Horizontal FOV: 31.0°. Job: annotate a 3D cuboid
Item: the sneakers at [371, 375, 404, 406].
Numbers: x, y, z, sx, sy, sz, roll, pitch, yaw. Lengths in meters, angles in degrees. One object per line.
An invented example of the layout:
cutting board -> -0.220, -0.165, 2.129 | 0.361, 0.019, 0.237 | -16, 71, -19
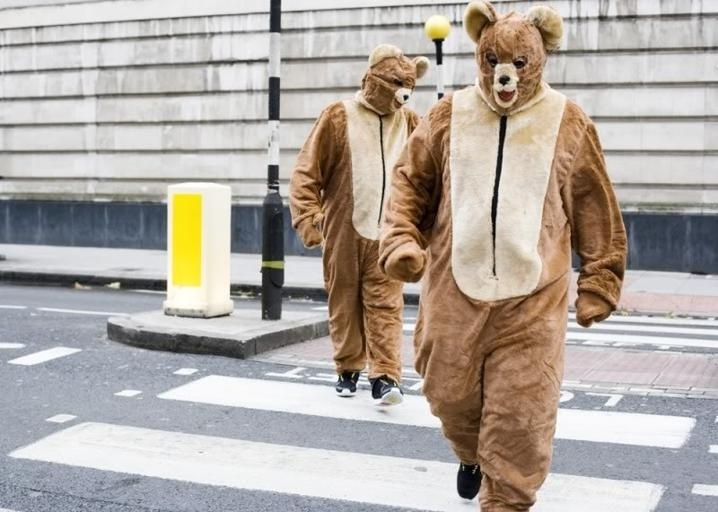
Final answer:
sneakers -> 0.290, 1.362, 12.965 | 0.176, 0.183, 0.404 | 4, -8, -25

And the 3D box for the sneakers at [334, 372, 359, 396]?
sneakers -> -0.119, 1.327, 13.367 | 0.200, 0.248, 0.562 | 1, -6, 4

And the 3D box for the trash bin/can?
trash bin/can -> -1.934, -0.065, 15.638 | 0.817, 1.602, 0.398 | 1, 2, -8
